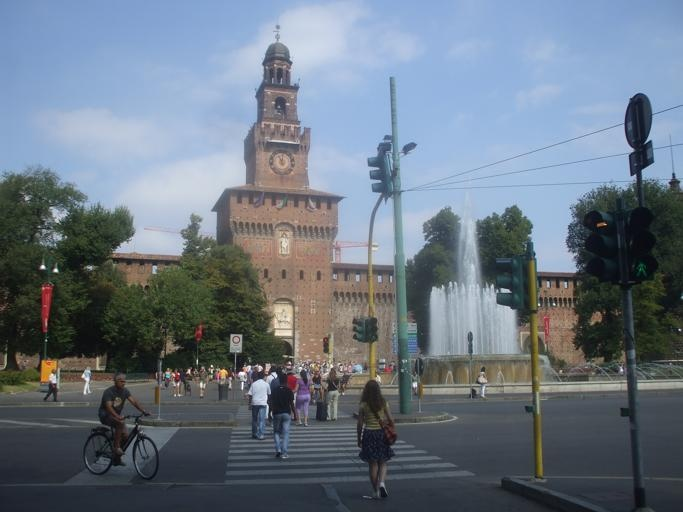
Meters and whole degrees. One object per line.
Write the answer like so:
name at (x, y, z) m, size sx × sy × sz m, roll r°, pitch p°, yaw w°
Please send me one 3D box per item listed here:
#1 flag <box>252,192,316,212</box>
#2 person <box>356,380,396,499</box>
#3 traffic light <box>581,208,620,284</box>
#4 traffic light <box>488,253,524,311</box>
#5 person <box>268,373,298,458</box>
flag at (-5.520, -5.242, 94.157) m, size 6.661 × 1.590 × 0.884 m, roll 4°, pitch -9°, yaw -28°
person at (0.877, 4.843, 25.495) m, size 1.046 × 2.669 × 1.355 m, roll 1°, pitch -4°, yaw -17°
traffic light at (6.551, -0.255, 24.178) m, size 0.573 × 2.282 × 0.360 m, roll -9°, pitch -9°, yaw 38°
traffic light at (4.578, 0.673, 26.155) m, size 0.845 × 1.508 × 1.187 m, roll -2°, pitch -8°, yaw 10°
person at (-1.793, 4.864, 29.403) m, size 0.699 × 2.197 × 0.659 m, roll -2°, pitch -4°, yaw 31°
